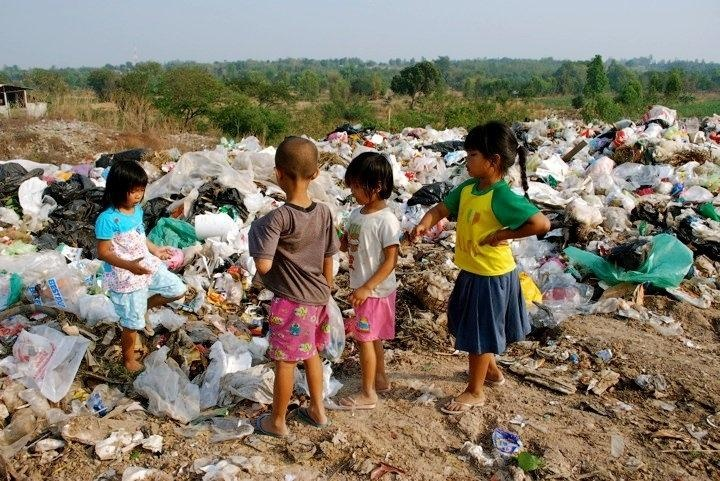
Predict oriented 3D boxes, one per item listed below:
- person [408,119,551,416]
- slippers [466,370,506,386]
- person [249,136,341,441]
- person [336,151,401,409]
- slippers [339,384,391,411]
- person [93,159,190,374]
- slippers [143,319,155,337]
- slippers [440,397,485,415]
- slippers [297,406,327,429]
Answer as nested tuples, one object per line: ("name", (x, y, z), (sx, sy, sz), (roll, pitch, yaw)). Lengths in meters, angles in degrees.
("person", (0.821, 0.192, 3.654), (0.781, 1.944, 0.496), (3, 13, 10))
("slippers", (0.934, 1.042, 3.999), (0.318, 0.132, 0.119), (4, 8, 6))
("person", (-0.423, 0.325, 3.515), (0.585, 1.954, 0.320), (-4, 14, -18))
("person", (0.054, 0.290, 3.741), (0.426, 1.767, 0.404), (0, 13, -1))
("slippers", (0.061, 1.121, 3.845), (0.408, 0.155, 0.134), (1, 11, -5))
("person", (-1.628, 0.202, 3.931), (0.488, 1.556, 0.453), (2, 13, 7))
("slippers", (-1.688, 0.718, 4.315), (0.035, 0.109, 0.111), (-22, -21, -2))
("slippers", (0.720, 1.136, 3.693), (0.229, 0.053, 0.118), (-1, 10, -10))
("slippers", (-0.318, 1.208, 3.664), (0.207, 0.062, 0.096), (26, 26, 39))
